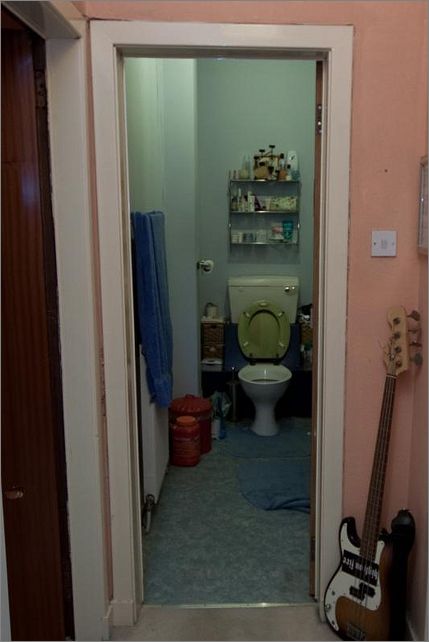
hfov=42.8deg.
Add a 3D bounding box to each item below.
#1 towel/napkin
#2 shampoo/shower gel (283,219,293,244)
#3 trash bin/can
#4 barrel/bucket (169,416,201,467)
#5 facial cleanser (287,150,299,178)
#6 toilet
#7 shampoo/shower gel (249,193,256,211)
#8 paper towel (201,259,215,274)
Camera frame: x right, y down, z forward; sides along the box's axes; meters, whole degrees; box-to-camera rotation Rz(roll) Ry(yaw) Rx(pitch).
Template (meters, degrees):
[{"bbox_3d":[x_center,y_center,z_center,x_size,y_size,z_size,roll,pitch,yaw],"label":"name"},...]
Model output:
[{"bbox_3d":[-0.283,-0.039,2.504,0.145,0.960,0.548,-1,5,-3],"label":"towel/napkin"},{"bbox_3d":[0.575,-0.683,4.208,0.056,0.162,0.129,3,6,38],"label":"shampoo/shower gel"},{"bbox_3d":[-0.111,0.680,3.480,0.225,0.305,0.251,-9,0,16],"label":"trash bin/can"},{"bbox_3d":[-0.195,0.711,3.314,0.182,0.323,0.182,3,24,-1],"label":"barrel/bucket"},{"bbox_3d":[0.586,-1.188,4.148,0.083,0.229,0.082,-1,5,2],"label":"facial cleanser"},{"bbox_3d":[0.357,0.225,3.924,0.503,1.073,0.709,-1,5,-2],"label":"toilet"},{"bbox_3d":[0.275,-0.896,4.148,0.036,0.138,0.124,1,1,3],"label":"shampoo/shower gel"},{"bbox_3d":[-0.072,-0.396,4.003,0.105,0.100,0.041,-3,10,30],"label":"paper towel"}]
